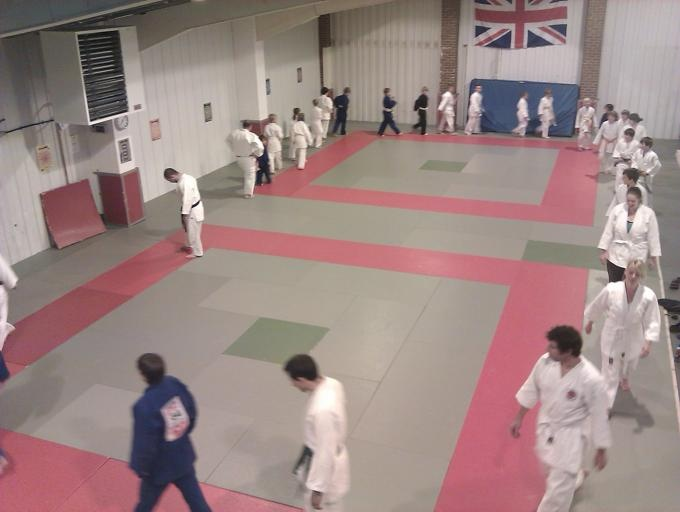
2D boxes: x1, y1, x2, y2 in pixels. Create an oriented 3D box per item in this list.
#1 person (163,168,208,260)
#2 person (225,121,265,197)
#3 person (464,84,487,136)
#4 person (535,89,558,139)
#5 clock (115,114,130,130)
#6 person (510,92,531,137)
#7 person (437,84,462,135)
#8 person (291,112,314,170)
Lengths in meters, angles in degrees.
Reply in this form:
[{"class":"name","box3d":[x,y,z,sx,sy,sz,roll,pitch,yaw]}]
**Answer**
[{"class":"person","box3d":[-3.198,-0.941,9.803,0.598,1.938,1.096,-6,22,-15]},{"class":"person","box3d":[-2.531,-2.650,12.866,0.880,2.028,0.970,-12,24,-28]},{"class":"person","box3d":[5.312,-5.789,18.572,0.510,1.860,0.841,18,27,39]},{"class":"person","box3d":[7.805,-5.397,17.803,0.561,1.785,0.773,18,27,39]},{"class":"clock","box3d":[-5.061,-3.068,10.834,0.259,0.339,0.403,-4,21,-9]},{"class":"person","box3d":[7.001,-5.464,18.101,0.545,1.623,0.585,7,22,17]},{"class":"person","box3d":[4.265,-5.878,18.817,0.745,1.760,0.701,4,21,11]},{"class":"person","box3d":[-1.299,-3.800,15.324,0.611,1.722,1.252,-2,21,-5]}]
